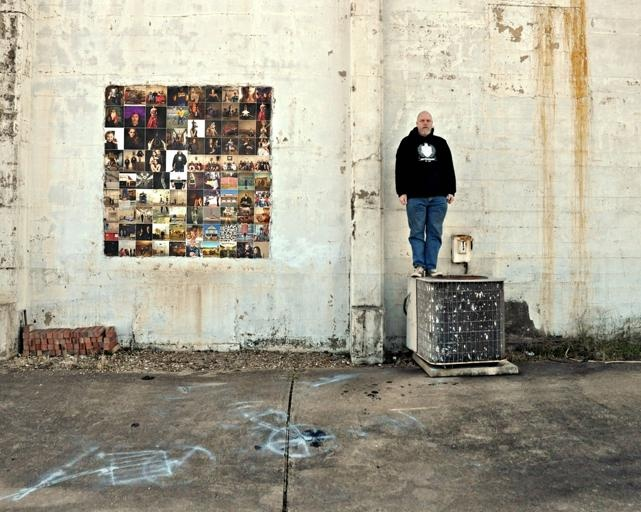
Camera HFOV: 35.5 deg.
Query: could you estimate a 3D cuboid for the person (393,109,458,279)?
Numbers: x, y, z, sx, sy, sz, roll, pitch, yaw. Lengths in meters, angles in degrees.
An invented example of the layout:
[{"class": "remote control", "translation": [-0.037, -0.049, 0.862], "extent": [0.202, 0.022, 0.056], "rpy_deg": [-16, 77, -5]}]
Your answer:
[{"class": "person", "translation": [1.312, -0.767, 12.505], "extent": [0.734, 2.044, 0.277], "rpy_deg": [0, -3, 2]}]
